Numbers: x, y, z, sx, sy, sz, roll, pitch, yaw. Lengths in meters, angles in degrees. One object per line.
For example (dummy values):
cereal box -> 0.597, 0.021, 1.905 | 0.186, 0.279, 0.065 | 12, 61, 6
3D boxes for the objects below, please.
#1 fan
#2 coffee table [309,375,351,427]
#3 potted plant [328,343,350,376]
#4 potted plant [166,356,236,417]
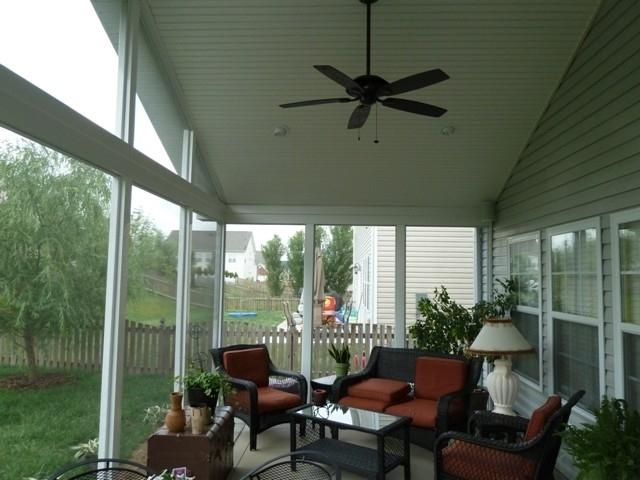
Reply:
fan -> 0.535, -1.719, 4.528 | 1.137, 1.212, 1.584 | -2, -9, 11
coffee table -> 0.078, 1.995, 6.321 | 0.282, 0.365, 0.523 | 3, 0, 17
potted plant -> 0.297, 1.674, 6.924 | 0.421, 0.481, 0.375 | 1, -16, -2
potted plant -> -1.198, 1.562, 5.284 | 0.686, 0.481, 0.652 | -7, -14, 43
